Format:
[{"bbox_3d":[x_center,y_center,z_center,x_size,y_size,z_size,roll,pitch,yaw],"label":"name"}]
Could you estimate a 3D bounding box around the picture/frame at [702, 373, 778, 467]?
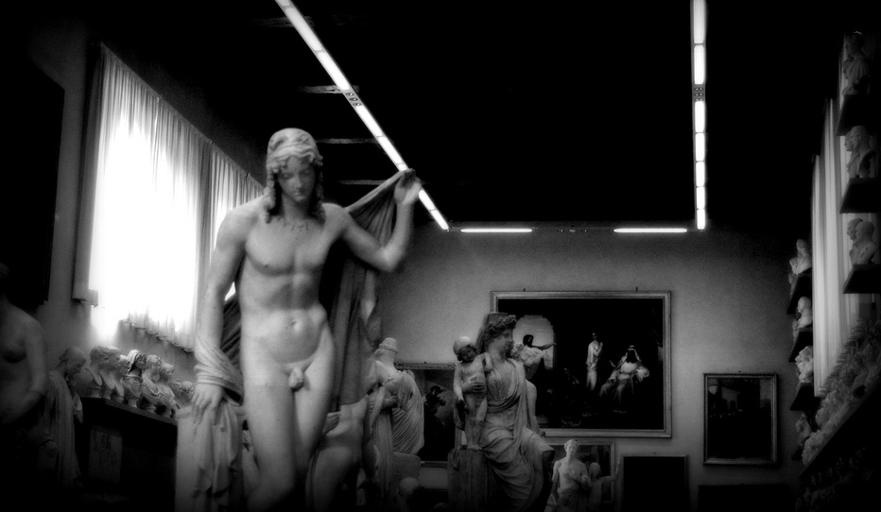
[{"bbox_3d":[6.779,3.684,19.271,1.586,2.085,0.166,3,-14,12],"label":"picture/frame"}]
